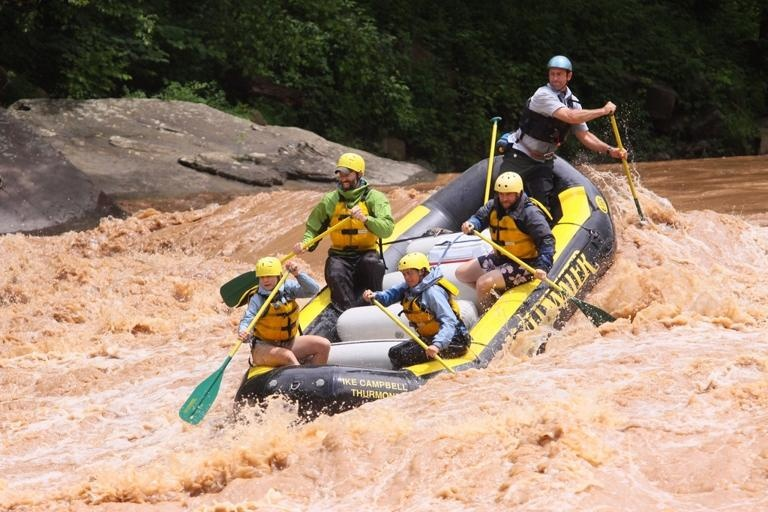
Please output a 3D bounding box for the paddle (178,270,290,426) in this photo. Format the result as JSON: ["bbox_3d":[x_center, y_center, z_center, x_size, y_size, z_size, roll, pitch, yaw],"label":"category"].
[{"bbox_3d":[-1.769,1.115,10.093,0.323,0.065,1.787,-23,34,43],"label":"paddle"}]

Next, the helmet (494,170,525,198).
[{"bbox_3d":[1.539,-0.865,10.407,0.245,0.243,0.301,2,-14,37],"label":"helmet"}]

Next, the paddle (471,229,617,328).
[{"bbox_3d":[1.876,0.164,9.936,0.359,2.154,0.150,-34,19,51],"label":"paddle"}]

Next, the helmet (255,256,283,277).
[{"bbox_3d":[-1.304,0.140,10.007,0.204,0.222,0.287,0,-9,11],"label":"helmet"}]

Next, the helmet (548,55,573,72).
[{"bbox_3d":[2.299,-2.538,11.127,0.268,0.201,0.658,6,31,8],"label":"helmet"}]

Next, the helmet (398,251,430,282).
[{"bbox_3d":[0.371,0.149,9.854,0.348,0.337,0.275,-2,1,-15],"label":"helmet"}]

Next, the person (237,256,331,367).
[{"bbox_3d":[-1.183,0.725,10.237,1.075,1.366,0.764,-18,6,-43],"label":"person"}]
